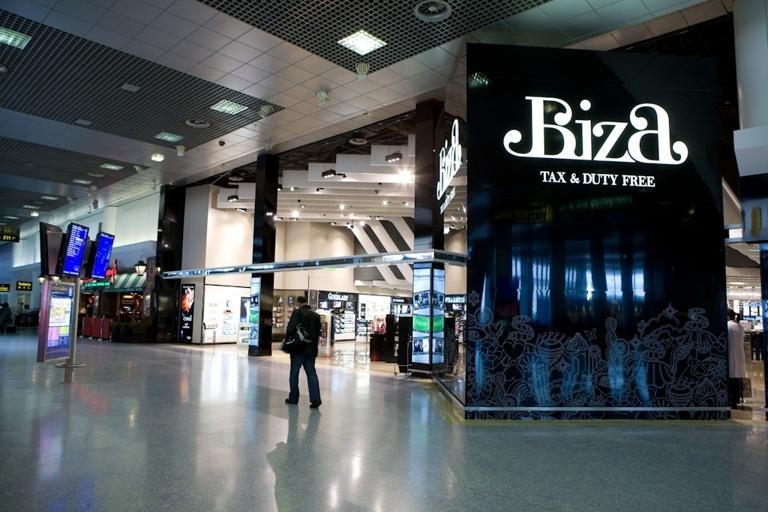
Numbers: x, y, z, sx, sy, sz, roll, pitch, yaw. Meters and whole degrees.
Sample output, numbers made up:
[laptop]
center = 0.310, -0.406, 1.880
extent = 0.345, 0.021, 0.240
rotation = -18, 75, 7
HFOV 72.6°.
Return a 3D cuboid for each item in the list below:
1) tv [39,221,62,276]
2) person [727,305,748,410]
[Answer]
[tv]
center = -6.078, -0.118, 9.479
extent = 0.364, 0.971, 0.322
rotation = 5, -9, -29
[person]
center = 5.677, 1.629, 8.332
extent = 0.254, 1.553, 0.792
rotation = -4, -9, 33
